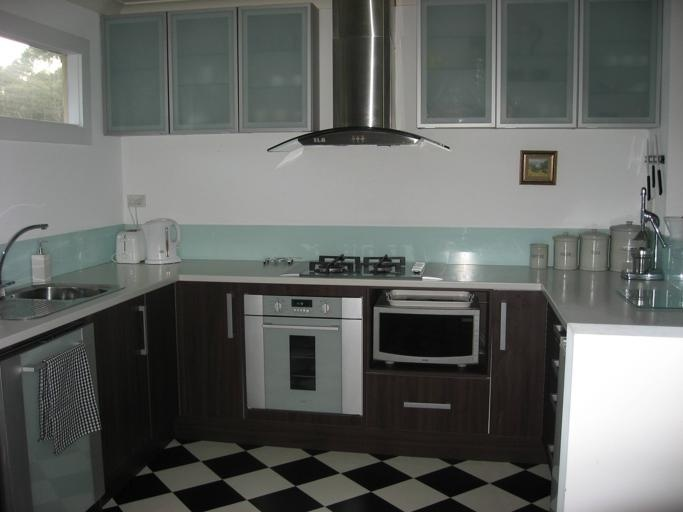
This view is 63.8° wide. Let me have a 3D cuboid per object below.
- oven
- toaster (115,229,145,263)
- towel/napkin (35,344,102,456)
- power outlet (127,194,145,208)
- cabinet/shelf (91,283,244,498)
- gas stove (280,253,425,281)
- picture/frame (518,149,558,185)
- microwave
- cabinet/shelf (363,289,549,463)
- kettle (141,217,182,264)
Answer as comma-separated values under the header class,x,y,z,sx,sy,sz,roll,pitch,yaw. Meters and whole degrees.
class,x,y,z,sx,sy,sz,roll,pitch,yaw
oven,-0.221,0.605,3.657,0.744,0.744,0.503,0,0,10
toaster,-1.566,-0.079,4.074,0.147,0.249,0.273,0,5,-4
towel/napkin,-1.276,0.686,2.565,0.107,0.478,0.355,3,15,15
power outlet,-1.572,-0.424,4.216,0.150,0.101,0.042,3,15,16
cabinet/shelf,-1.035,0.770,3.250,0.503,0.971,1.002,0,10,2
gas stove,0.124,0.062,3.532,0.789,0.107,0.346,0,15,5
picture/frame,1.373,-0.630,3.808,0.236,0.245,0.019,1,6,6
microwave,0.546,0.378,3.546,0.558,0.355,0.394,0,2,9
cabinet/shelf,0.761,0.755,3.625,1.066,1.000,0.567,0,-6,23
kettle,-1.254,-0.127,4.044,0.316,0.356,0.300,3,7,12
